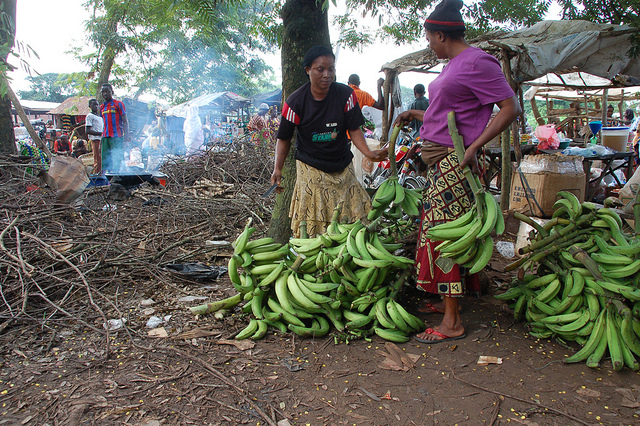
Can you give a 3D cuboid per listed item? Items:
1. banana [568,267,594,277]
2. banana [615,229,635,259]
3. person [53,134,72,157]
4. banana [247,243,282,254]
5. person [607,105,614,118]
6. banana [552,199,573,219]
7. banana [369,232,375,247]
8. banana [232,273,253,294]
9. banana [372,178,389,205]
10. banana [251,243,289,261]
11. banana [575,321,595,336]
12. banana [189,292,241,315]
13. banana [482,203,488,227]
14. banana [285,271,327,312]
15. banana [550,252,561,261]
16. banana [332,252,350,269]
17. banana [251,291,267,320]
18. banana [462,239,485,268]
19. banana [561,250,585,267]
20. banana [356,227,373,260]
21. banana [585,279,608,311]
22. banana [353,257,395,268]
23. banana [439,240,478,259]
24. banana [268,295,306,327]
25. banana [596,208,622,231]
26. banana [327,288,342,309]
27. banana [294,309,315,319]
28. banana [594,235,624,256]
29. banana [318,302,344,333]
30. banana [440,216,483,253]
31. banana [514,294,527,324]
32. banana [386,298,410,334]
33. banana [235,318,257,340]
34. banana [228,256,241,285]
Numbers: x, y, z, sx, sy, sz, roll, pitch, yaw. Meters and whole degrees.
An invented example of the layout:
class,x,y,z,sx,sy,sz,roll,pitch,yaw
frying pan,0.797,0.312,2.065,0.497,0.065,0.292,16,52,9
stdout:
class,x,y,z,sx,sy,sz,roll,pitch,yaw
banana,2.426,0.547,3.915,0.068,0.045,0.199,-31,39,-34
banana,2.766,0.282,3.819,0.075,0.112,0.322,11,37,-2
person,-8.215,-2.207,13.410,0.477,0.641,1.361,-9,14,-31
banana,-0.556,0.384,4.537,0.424,0.103,0.144,-5,-10,-21
person,8.057,-2.840,11.656,0.109,0.330,1.076,7,14,34
banana,2.395,-0.054,4.126,0.099,0.151,0.272,-3,12,-6
banana,0.525,0.274,4.207,0.028,0.131,0.035,19,-12,-26
banana,-0.766,0.759,4.407,0.108,0.199,0.312,-30,-7,-3
banana,0.615,-0.230,4.260,0.068,0.326,0.086,15,-25,47
banana,-0.534,0.424,4.429,0.341,0.116,0.076,-14,-27,5
banana,2.400,1.066,3.785,0.204,0.062,0.073,-43,0,15
banana,-1.139,1.011,4.585,0.656,0.138,0.113,-12,10,-16
banana,1.464,0.025,3.758,0.036,0.172,0.049,-1,-10,2
banana,-0.143,0.804,4.152,0.455,0.095,0.165,43,35,18
banana,2.265,0.425,4.044,0.079,0.074,0.026,6,14,31
banana,0.250,0.457,4.137,0.260,0.071,0.093,-32,5,-24
banana,-0.621,0.951,4.298,0.147,0.268,0.150,-3,12,-7
banana,1.380,0.397,3.855,0.087,0.316,0.117,17,8,-20
banana,2.345,0.428,3.947,0.231,0.090,0.061,31,46,24
banana,0.426,0.313,4.105,0.135,0.381,0.079,26,-48,-26
banana,2.505,0.717,3.771,0.092,0.332,0.071,-34,-19,21
banana,0.507,0.478,3.999,0.397,0.096,0.107,1,12,12
banana,1.277,0.381,3.874,0.345,0.081,0.119,-25,41,17
banana,-0.317,1.001,4.199,0.160,0.453,0.095,-47,-1,2
banana,2.765,0.062,3.979,0.318,0.221,0.109,-5,13,-18
banana,0.143,0.865,4.177,0.128,0.045,0.192,-39,2,25
banana,-0.155,1.024,4.228,0.223,0.060,0.076,12,-22,-10
banana,2.671,0.311,3.884,0.099,0.280,0.065,-7,-32,-48
banana,0.117,1.056,4.216,0.097,0.362,0.075,-41,-7,29
banana,1.228,0.247,3.836,0.170,0.085,0.442,11,-41,-38
banana,1.968,0.950,4.189,0.102,0.310,0.076,20,-3,-25
banana,0.730,1.005,4.126,0.116,0.423,0.142,-37,-16,2
banana,-0.724,1.181,4.209,0.139,0.137,0.247,9,15,40
banana,-0.912,0.621,4.412,0.100,0.348,0.129,-14,-9,30
